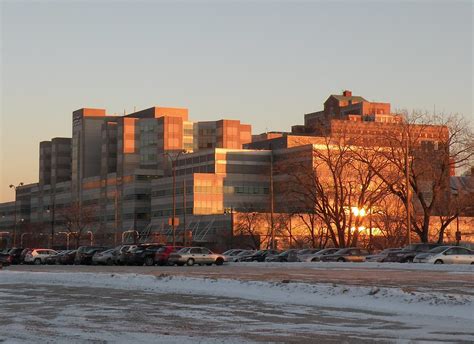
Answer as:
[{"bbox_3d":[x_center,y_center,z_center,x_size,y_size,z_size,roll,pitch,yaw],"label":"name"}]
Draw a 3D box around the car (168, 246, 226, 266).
[{"bbox_3d":[-3.072,6.267,54.772,3.925,1.352,1.583,4,-10,-36],"label":"car"}]
